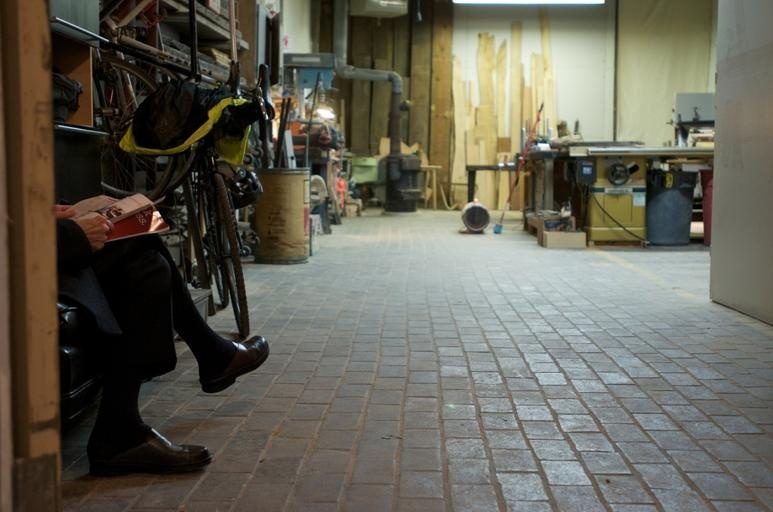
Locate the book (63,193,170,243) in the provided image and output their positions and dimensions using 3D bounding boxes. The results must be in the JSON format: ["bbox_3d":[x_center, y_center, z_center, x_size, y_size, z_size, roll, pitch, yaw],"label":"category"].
[{"bbox_3d":[-0.937,-0.139,2.248,0.218,0.060,0.223,-15,40,-32],"label":"book"}]

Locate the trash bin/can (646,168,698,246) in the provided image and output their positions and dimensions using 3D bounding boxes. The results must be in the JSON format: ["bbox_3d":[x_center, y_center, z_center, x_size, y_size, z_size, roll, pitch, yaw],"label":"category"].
[{"bbox_3d":[3.796,-0.665,8.545,0.877,1.006,0.887,0,3,12],"label":"trash bin/can"}]

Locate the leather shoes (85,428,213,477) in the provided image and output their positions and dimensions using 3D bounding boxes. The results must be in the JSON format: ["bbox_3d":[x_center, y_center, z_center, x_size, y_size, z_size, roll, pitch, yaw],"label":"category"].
[{"bbox_3d":[-0.866,0.733,2.420,0.452,0.189,0.167,-2,1,-10],"label":"leather shoes"}]

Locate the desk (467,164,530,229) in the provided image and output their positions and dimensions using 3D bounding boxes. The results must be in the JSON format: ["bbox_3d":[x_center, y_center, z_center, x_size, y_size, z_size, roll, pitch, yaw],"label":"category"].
[{"bbox_3d":[2.315,-1.280,13.187,1.620,1.548,1.620,0,8,1],"label":"desk"}]

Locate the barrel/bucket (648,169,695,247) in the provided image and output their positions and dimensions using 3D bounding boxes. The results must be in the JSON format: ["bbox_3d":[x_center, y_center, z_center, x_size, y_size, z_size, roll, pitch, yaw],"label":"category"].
[{"bbox_3d":[3.759,-0.641,8.611,0.855,1.006,0.888,-2,3,0],"label":"barrel/bucket"}]

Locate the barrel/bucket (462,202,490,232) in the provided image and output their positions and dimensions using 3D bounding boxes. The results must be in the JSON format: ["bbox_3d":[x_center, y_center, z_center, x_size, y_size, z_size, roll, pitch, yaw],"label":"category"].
[{"bbox_3d":[1.367,-0.598,9.864,0.381,0.478,0.358,-1,9,0],"label":"barrel/bucket"}]
